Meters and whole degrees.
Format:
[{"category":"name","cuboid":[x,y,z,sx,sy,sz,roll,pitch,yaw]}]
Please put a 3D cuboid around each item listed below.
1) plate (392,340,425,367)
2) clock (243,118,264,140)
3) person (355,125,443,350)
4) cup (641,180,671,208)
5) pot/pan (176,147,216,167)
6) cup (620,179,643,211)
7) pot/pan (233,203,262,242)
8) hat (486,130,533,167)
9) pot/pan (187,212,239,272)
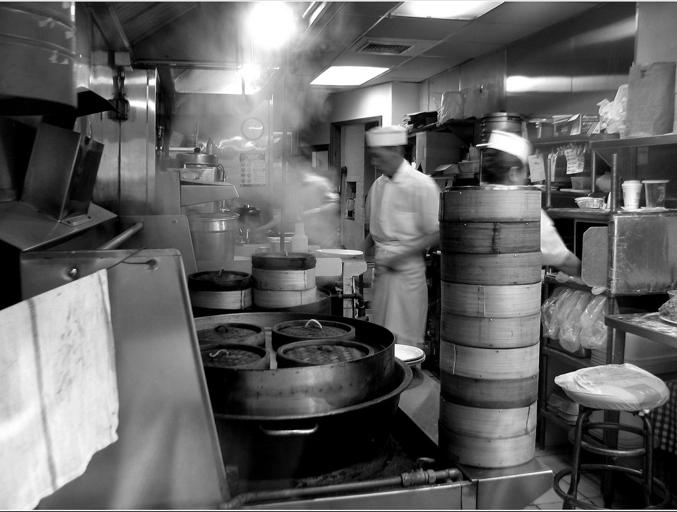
[{"category":"plate","cuboid":[0.236,0.325,1.868,0.106,0.026,0.101,0,4,-20]},{"category":"clock","cuboid":[-0.836,-1.235,5.585,0.213,0.218,0.101,-3,7,-9]},{"category":"person","cuboid":[0.454,-0.126,4.034,0.440,1.565,0.601,-4,8,-12]},{"category":"cup","cuboid":[1.859,-0.363,3.348,0.110,0.159,0.231,3,8,33]},{"category":"pot/pan","cuboid":[-1.041,-0.705,4.163,0.273,0.097,0.259,-1,5,-21]},{"category":"cup","cuboid":[1.712,-0.355,3.324,0.092,0.168,0.264,1,8,26]},{"category":"pot/pan","cuboid":[-0.867,-0.347,5.477,0.261,0.273,0.253,4,5,43]},{"category":"hat","cuboid":[0.748,-0.476,2.514,0.172,0.162,0.368,0,7,17]},{"category":"pot/pan","cuboid":[-0.877,-0.108,3.948,0.405,0.360,0.358,-2,8,-10]}]
